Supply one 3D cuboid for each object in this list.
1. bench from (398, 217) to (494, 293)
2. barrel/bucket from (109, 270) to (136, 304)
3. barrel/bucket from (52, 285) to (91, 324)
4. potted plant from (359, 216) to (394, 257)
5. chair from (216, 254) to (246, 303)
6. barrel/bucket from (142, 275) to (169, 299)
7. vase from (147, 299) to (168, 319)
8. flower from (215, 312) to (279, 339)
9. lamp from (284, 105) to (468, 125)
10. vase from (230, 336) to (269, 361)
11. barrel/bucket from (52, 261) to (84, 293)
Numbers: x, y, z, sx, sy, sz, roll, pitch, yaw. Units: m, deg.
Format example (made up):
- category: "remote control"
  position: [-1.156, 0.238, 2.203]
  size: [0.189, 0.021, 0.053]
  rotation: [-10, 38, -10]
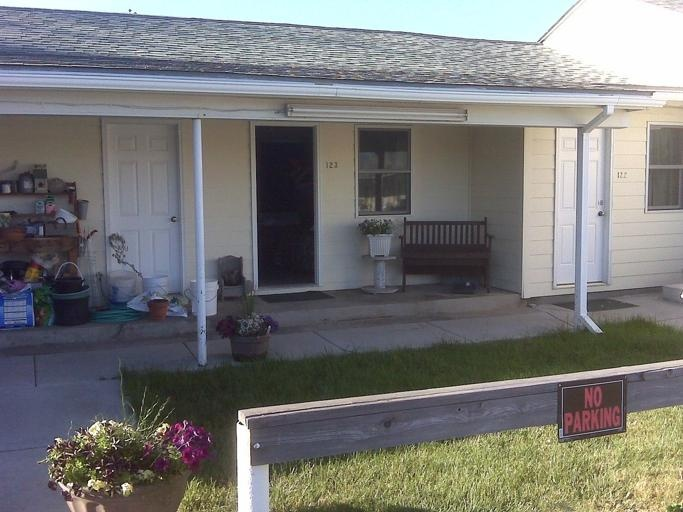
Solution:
- category: "bench"
  position: [1.640, -0.024, 10.217]
  size: [1.212, 0.925, 0.470]
  rotation: [0, 4, 1]
- category: "barrel/bucket"
  position: [-2.991, 0.433, 8.819]
  size: [0.403, 0.362, 0.447]
  rotation: [1, -1, -8]
- category: "barrel/bucket"
  position: [-3.357, 0.592, 8.058]
  size: [0.428, 0.421, 0.417]
  rotation: [1, 5, 0]
- category: "potted plant"
  position: [0.535, -0.288, 10.063]
  size: [0.508, 0.579, 0.396]
  rotation: [4, 11, 42]
- category: "chair"
  position: [-1.626, 0.310, 9.586]
  size: [0.393, 0.624, 0.207]
  rotation: [-6, 8, -16]
- category: "barrel/bucket"
  position: [-2.566, 0.418, 8.832]
  size: [0.340, 0.241, 0.311]
  rotation: [1, 5, 0]
- category: "vase"
  position: [-2.339, 0.681, 8.294]
  size: [0.237, 0.224, 0.256]
  rotation: [1, -1, 11]
- category: "flower"
  position: [-1.049, 0.783, 7.235]
  size: [0.407, 0.169, 0.398]
  rotation: [-2, -2, 5]
- category: "lamp"
  position: [0.444, -1.601, 7.365]
  size: [2.184, 0.245, 0.219]
  rotation: [-6, 8, -21]
- category: "vase"
  position: [-0.968, 0.963, 6.978]
  size: [0.332, 0.188, 0.321]
  rotation: [-1, 3, -12]
- category: "barrel/bucket"
  position: [-3.420, 0.308, 8.100]
  size: [0.496, 0.475, 0.447]
  rotation: [1, -2, -24]
